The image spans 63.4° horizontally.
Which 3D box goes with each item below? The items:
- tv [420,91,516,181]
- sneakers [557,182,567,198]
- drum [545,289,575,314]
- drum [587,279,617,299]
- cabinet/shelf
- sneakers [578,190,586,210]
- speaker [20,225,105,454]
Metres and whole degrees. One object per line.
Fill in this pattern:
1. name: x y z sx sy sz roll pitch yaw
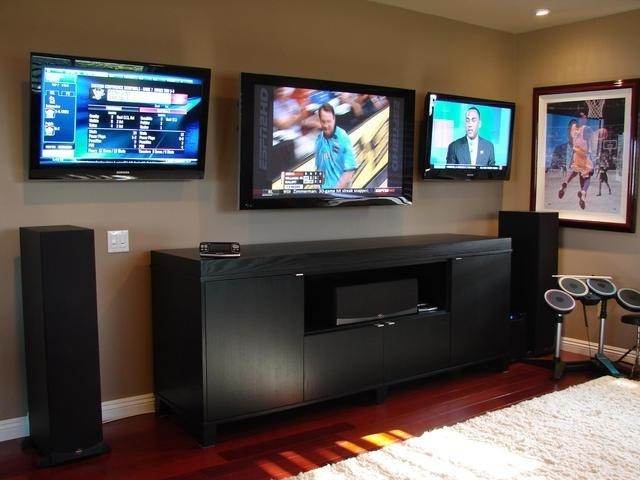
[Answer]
1. tv: 1.373 -0.935 4.826 1.043 0.758 0.104 -2 10 -26
2. sneakers: 2.356 -0.483 5.029 0.050 0.145 0.057 21 13 41
3. drum: 2.027 0.515 4.363 0.221 0.167 0.280 6 9 41
4. drum: 2.429 0.411 4.462 0.236 0.146 0.267 1 7 8
5. cabinet/shelf: 0.286 0.604 4.149 2.830 1.221 0.768 -3 3 -33
6. sneakers: 2.489 -0.379 4.917 0.057 0.160 0.066 -9 10 46
7. speaker: -1.583 0.603 3.113 0.518 1.353 0.306 4 7 30
